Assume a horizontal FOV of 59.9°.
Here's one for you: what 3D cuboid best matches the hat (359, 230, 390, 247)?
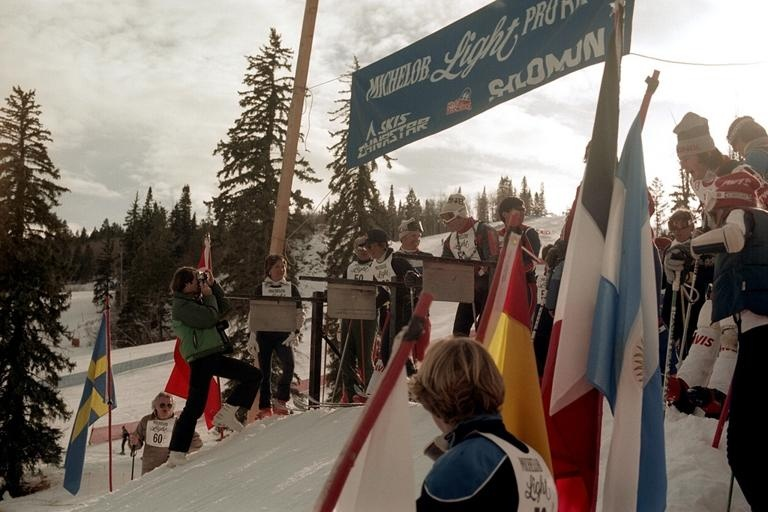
[{"bbox_3d":[-0.117,-0.298,11.202,0.362,0.231,0.265,6,-1,-6],"label":"hat"}]

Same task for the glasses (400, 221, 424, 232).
[{"bbox_3d":[0.426,-0.562,11.820,0.267,0.151,0.210,-12,-13,42],"label":"glasses"}]

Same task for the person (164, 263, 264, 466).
[{"bbox_3d":[-2.729,1.708,10.463,1.241,3.054,0.761,1,-2,-24],"label":"person"}]

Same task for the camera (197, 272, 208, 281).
[{"bbox_3d":[-2.777,0.318,10.253,0.113,0.160,0.056,1,1,4],"label":"camera"}]

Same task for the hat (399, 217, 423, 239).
[{"bbox_3d":[0.432,-0.486,11.856,0.381,0.322,0.298,-13,-6,20],"label":"hat"}]

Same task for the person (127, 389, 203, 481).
[{"bbox_3d":[-4.120,3.586,12.184,1.029,2.055,0.622,9,9,-13],"label":"person"}]
